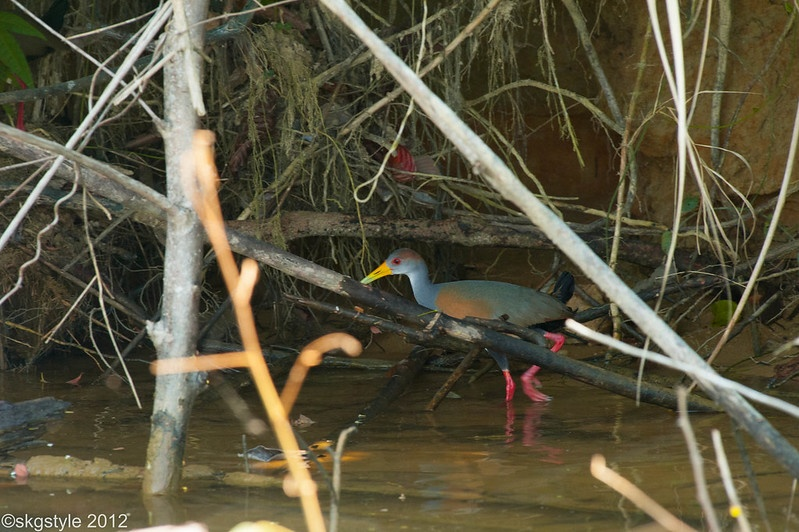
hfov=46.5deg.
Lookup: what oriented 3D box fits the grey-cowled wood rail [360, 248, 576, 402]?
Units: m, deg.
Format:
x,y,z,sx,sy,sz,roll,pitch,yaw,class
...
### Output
x,y,z,sx,sy,sz,roll,pitch,yaw,class
0.798,0.497,7.814,1.419,1.181,1.248,-3,13,-8,grey-cowled wood rail
